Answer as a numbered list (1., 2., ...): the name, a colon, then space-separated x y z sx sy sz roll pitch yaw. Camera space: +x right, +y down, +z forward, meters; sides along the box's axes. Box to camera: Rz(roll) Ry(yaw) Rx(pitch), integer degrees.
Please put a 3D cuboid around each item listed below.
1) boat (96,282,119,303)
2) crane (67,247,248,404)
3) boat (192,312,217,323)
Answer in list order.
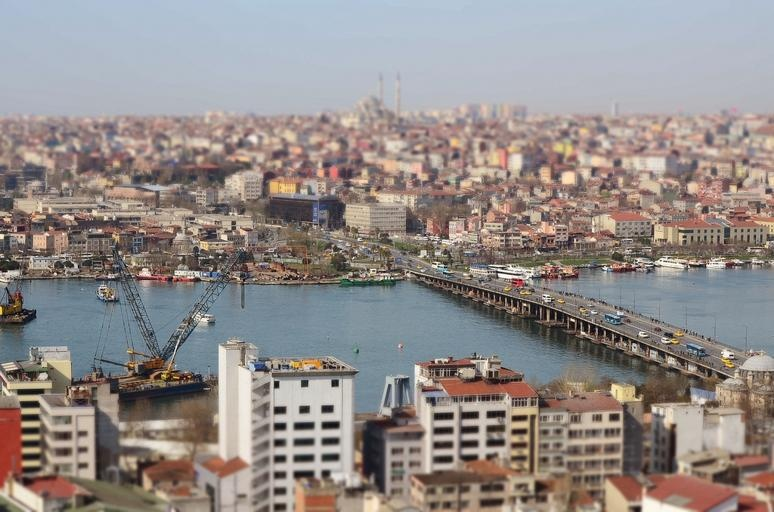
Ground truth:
1. boat: -3.512 0.383 23.647 0.189 0.198 0.545 0 10 -21
2. crane: -2.431 0.705 20.167 1.837 1.295 0.508 1 2 -40
3. boat: -2.128 0.636 21.673 0.175 0.138 0.626 -1 0 -12
